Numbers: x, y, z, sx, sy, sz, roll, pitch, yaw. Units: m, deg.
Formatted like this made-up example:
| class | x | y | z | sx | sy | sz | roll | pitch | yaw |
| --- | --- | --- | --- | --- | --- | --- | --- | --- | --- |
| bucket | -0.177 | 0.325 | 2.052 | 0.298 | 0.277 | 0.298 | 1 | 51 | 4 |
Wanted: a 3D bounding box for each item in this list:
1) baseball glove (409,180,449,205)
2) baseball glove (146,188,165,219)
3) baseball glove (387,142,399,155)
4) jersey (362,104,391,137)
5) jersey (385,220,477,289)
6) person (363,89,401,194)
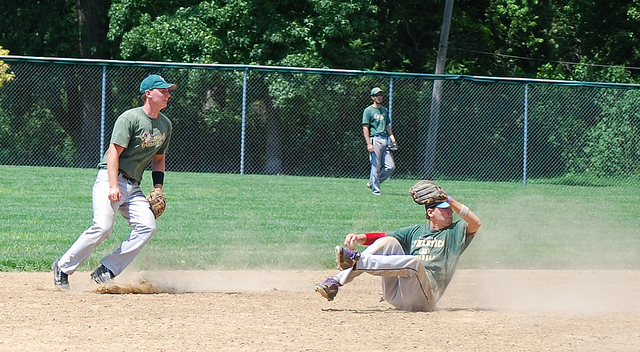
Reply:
| class | x | y | z | sx | sy | sz | roll | pitch | yaw |
| --- | --- | --- | --- | --- | --- | --- | --- | --- | --- |
| baseball glove | 2.623 | 0.428 | 25.835 | 0.797 | 0.266 | 0.527 | 0 | 35 | -4 |
| baseball glove | -4.291 | 0.695 | 26.845 | 0.551 | 0.662 | 0.317 | -7 | 4 | -42 |
| baseball glove | 2.267 | -0.831 | 32.988 | 0.397 | 0.167 | 0.501 | 6 | 15 | 17 |
| jersey | 1.723 | -1.656 | 32.705 | 1.282 | 1.068 | 0.658 | 1 | -3 | -22 |
| jersey | 2.651 | 1.922 | 25.796 | 2.097 | 1.616 | 0.734 | 3 | 41 | -2 |
| person | 1.790 | -1.015 | 32.689 | 1.022 | 3.226 | 0.467 | 3 | 2 | 3 |
